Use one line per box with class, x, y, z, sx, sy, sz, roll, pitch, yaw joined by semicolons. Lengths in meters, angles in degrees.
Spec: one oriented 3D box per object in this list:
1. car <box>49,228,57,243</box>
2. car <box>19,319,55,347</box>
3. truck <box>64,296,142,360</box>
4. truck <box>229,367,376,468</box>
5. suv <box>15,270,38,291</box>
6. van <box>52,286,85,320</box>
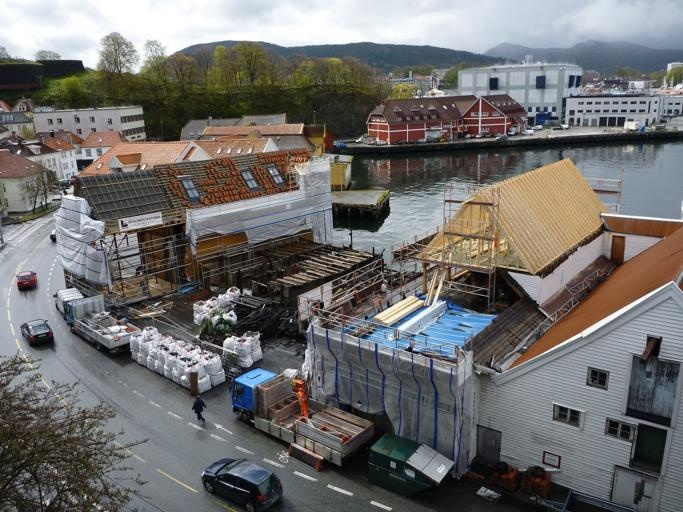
car;-32.051;-2.159;63.507;1.266;0.933;2.732;-5;21;-26
car;-21.268;5.276;39.673;1.255;0.950;2.874;-12;24;-40
truck;-16.488;4.831;39.811;7.102;3.022;2.799;17;21;35
truck;-2.341;8.401;29.598;7.766;2.521;3.308;14;18;35
suv;-27.456;1.962;49.723;1.264;0.983;2.272;-10;36;-29
van;-20.798;3.527;43.593;1.888;1.741;2.863;-8;22;-29
